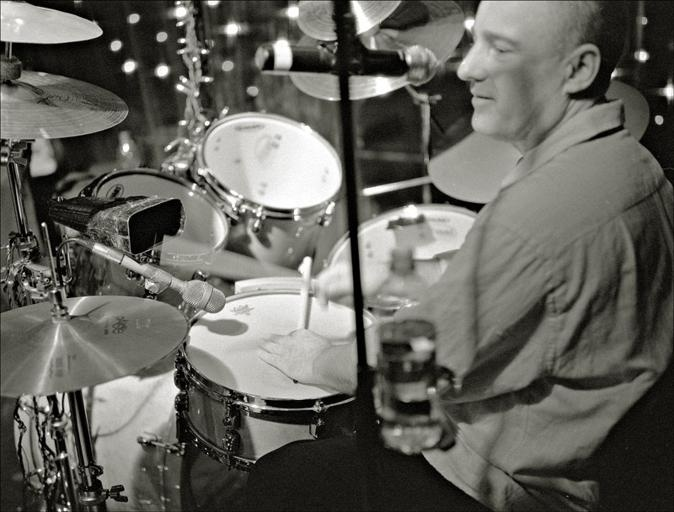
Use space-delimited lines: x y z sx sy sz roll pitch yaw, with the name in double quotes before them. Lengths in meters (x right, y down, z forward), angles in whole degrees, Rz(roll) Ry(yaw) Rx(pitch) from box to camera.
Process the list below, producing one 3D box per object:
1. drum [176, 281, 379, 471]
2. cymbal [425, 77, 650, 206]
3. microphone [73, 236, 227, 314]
"drum" -0.134 0.281 1.629 0.333 0.113 0.347 3 46 -3
"cymbal" 0.271 -0.157 1.201 0.220 0.223 0.055 -8 -42 35
"microphone" -0.391 0.044 1.631 0.295 0.049 0.055 25 19 -6
